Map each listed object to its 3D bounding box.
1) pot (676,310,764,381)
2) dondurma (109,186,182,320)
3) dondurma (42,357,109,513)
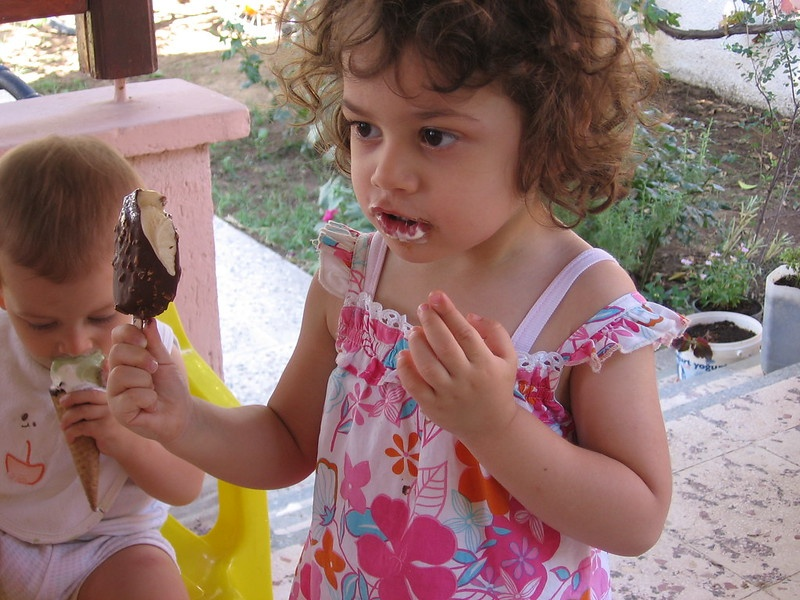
[{"bbox_3d":[1.582,0.242,3.762,0.268,0.219,0.291,-2,22,1],"label":"pot"},{"bbox_3d":[-0.457,-0.075,1.369,0.114,0.219,0.097,-4,23,-19],"label":"dondurma"},{"bbox_3d":[-0.680,0.297,1.620,0.115,0.356,0.159,-2,22,-15],"label":"dondurma"}]
